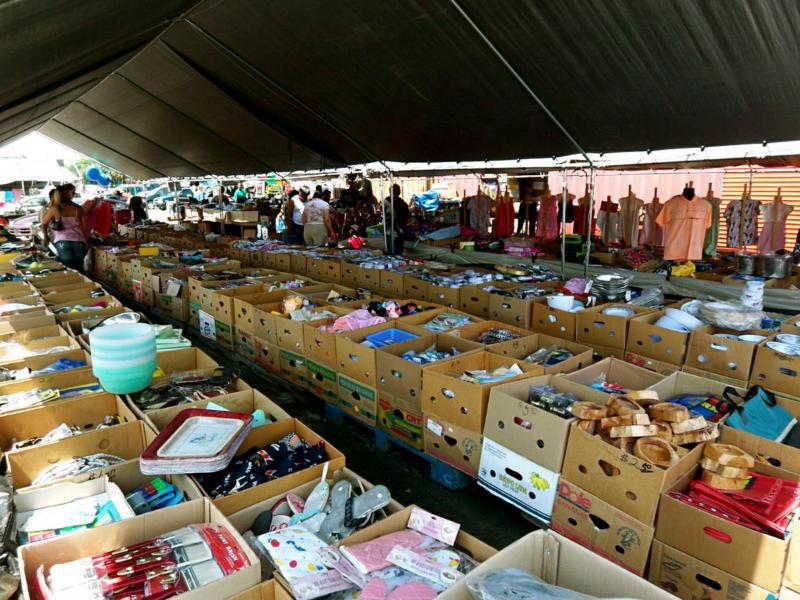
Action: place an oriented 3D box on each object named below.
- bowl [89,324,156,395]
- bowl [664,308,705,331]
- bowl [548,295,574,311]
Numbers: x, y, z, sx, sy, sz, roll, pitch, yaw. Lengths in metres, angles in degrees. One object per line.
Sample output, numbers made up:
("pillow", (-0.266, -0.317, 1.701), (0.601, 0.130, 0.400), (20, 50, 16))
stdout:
("bowl", (-1.452, 0.323, 2.693), (0.268, 0.383, 0.198), (3, 11, 15))
("bowl", (2.318, 0.140, 4.155), (0.224, 0.066, 0.201), (19, 9, -19))
("bowl", (1.493, 0.036, 4.656), (0.178, 0.101, 0.177), (0, 2, 0))
